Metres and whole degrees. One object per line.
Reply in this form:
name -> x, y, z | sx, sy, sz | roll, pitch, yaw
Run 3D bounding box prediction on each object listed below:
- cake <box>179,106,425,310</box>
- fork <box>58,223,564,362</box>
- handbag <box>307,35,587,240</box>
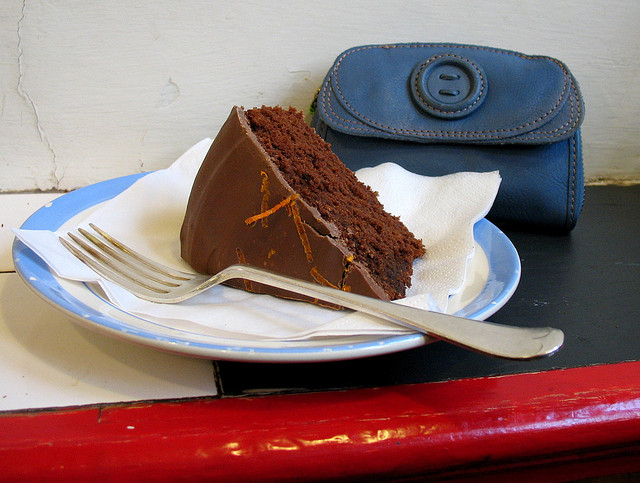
cake -> -0.078, -0.031, 1.174 | 0.430, 0.195, 0.313 | 31, 27, 13
fork -> -0.034, 0.080, 1.026 | 0.755, 0.052, 0.077 | 11, 31, 19
handbag -> 0.295, -0.248, 1.433 | 0.618, 0.300, 0.210 | 10, 35, 27
